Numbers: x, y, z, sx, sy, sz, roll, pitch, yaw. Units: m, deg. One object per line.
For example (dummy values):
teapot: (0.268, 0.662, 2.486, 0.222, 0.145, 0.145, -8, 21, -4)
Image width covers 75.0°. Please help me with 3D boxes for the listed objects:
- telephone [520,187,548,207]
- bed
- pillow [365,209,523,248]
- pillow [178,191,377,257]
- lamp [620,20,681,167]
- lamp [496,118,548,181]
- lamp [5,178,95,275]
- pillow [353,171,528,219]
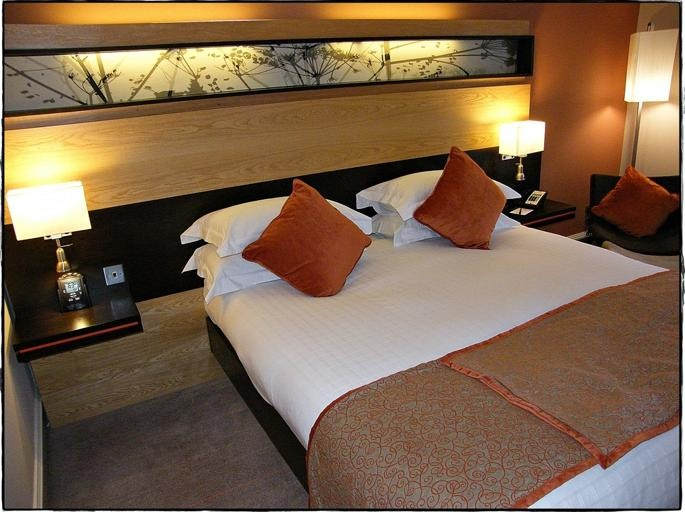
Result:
telephone: (1.678, -0.504, 3.908, 0.147, 0.062, 0.291, 12, 33, 39)
bed: (0.484, 0.336, 2.223, 1.628, 0.327, 1.449, -14, 27, -30)
pillow: (0.490, -0.174, 3.147, 0.533, 0.128, 0.475, 14, 24, 40)
pillow: (-0.633, -0.193, 2.743, 0.868, 0.190, 0.537, -13, 23, -30)
lamp: (2.845, -1.491, 4.246, 0.421, 1.338, 0.534, 11, 27, 26)
lamp: (1.515, -0.921, 3.841, 0.537, 0.583, 0.220, -22, 31, -32)
lamp: (-1.563, -0.247, 2.390, 0.341, 0.250, 0.179, -10, 24, -22)
pillow: (0.437, -0.416, 3.245, 0.889, 0.217, 0.503, -15, 21, -28)
